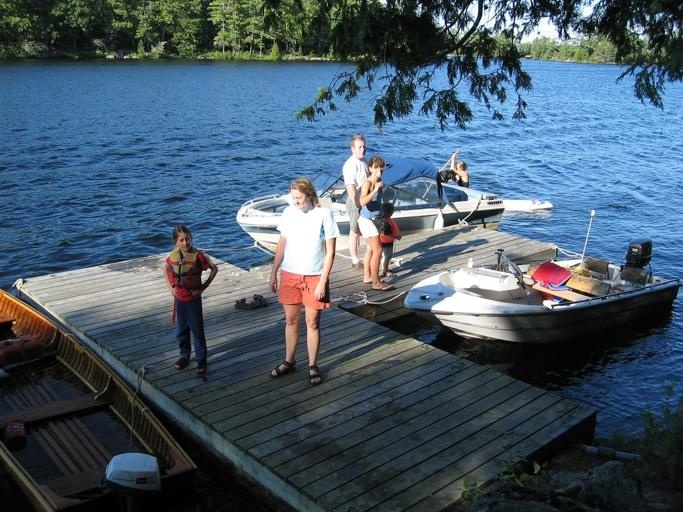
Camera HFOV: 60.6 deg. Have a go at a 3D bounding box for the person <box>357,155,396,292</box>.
[{"bbox_3d":[0.573,-0.500,9.738,0.576,2.327,0.640,0,23,1],"label":"person"}]

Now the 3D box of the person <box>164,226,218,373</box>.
[{"bbox_3d":[-1.872,0.551,7.342,0.554,1.960,0.446,13,27,30],"label":"person"}]

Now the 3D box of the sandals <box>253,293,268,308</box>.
[{"bbox_3d":[-1.304,0.720,9.402,0.186,0.076,0.243,-17,22,-32],"label":"sandals"}]

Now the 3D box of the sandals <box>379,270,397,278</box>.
[{"bbox_3d":[0.844,0.320,10.723,0.136,0.075,0.223,-10,9,-31],"label":"sandals"}]

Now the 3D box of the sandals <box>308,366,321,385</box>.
[{"bbox_3d":[-0.325,1.497,7.312,0.115,0.067,0.284,-4,18,-6],"label":"sandals"}]

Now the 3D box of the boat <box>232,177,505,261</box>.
[{"bbox_3d":[1.100,-1.275,14.849,7.386,1.827,2.381,-6,20,-16],"label":"boat"}]

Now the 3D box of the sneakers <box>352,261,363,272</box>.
[{"bbox_3d":[0.335,0.189,11.090,0.102,0.086,0.238,-10,10,-36],"label":"sneakers"}]

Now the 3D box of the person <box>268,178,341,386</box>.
[{"bbox_3d":[-0.469,0.369,6.938,0.839,2.570,0.547,3,23,9],"label":"person"}]

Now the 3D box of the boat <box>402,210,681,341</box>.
[{"bbox_3d":[3.410,0.592,9.962,4.861,1.562,1.278,-7,22,-19],"label":"boat"}]

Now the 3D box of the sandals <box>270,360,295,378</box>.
[{"bbox_3d":[-0.710,1.428,7.516,0.379,0.127,0.155,-11,20,-38],"label":"sandals"}]

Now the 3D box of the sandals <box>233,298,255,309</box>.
[{"bbox_3d":[-1.563,0.743,9.290,0.236,0.069,0.173,8,12,36],"label":"sandals"}]
